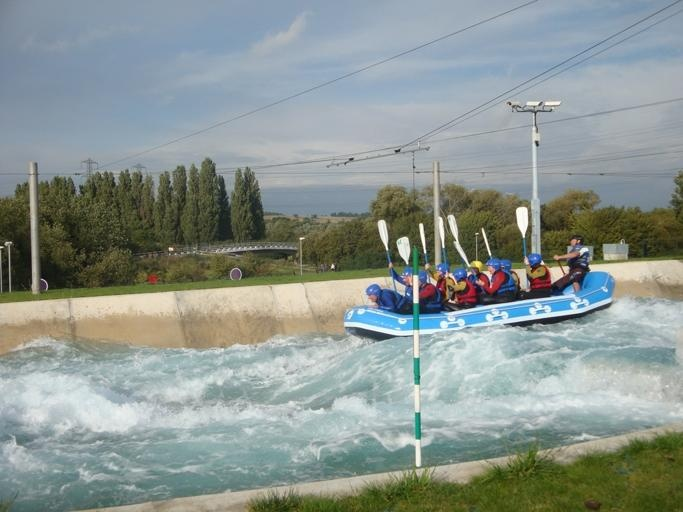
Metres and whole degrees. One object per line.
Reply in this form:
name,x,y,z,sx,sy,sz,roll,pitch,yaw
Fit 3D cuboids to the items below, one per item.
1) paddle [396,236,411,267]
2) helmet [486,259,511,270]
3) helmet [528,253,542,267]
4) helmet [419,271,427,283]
paddle,2.069,-0.256,25.608,0.431,1.474,0.195,-2,-12,-15
helmet,5.362,0.275,26.240,0.566,0.298,0.452,-2,0,6
helmet,6.796,0.141,27.146,0.478,0.478,0.382,9,5,25
helmet,2.625,0.676,24.833,0.362,0.426,0.475,0,-7,3
